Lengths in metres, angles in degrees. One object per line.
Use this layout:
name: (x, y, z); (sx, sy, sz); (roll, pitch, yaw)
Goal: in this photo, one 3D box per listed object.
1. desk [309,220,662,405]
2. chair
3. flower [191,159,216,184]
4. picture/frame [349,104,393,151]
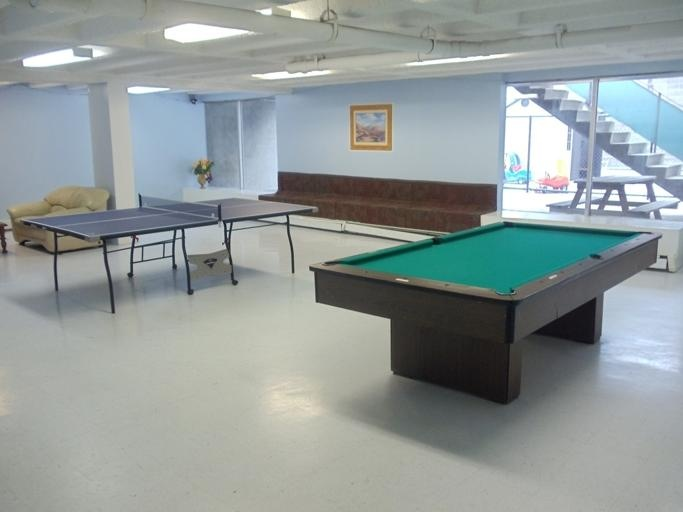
desk: (1.160, 0.441, 4.165); (2.521, 1.034, 1.379); (-12, 18, -41)
chair: (-4.172, -0.520, 7.748); (1.341, 0.930, 0.789); (10, 10, 43)
flower: (-3.262, -1.987, 12.513); (0.447, 0.652, 0.665); (-4, 15, -14)
picture/frame: (0.565, -2.355, 9.480); (0.880, 0.844, 0.067); (4, 8, 39)
